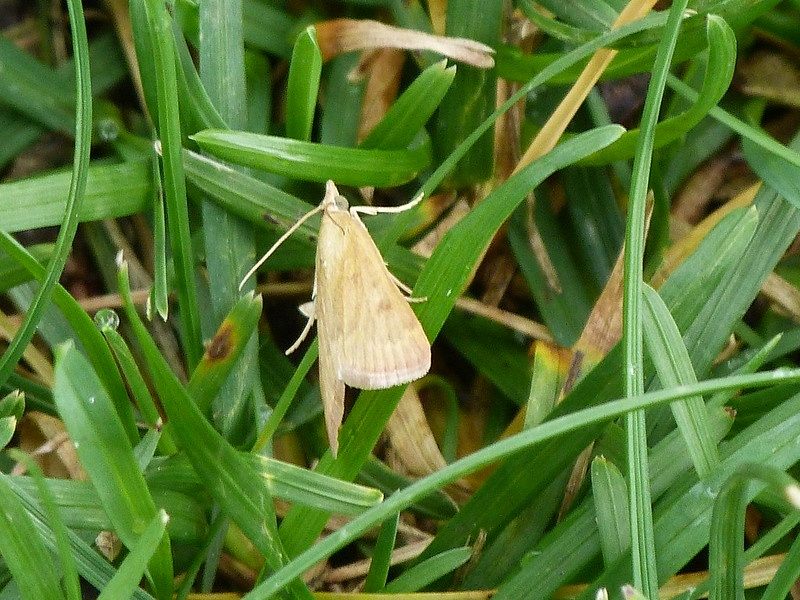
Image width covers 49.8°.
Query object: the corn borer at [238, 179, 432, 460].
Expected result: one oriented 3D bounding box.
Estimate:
[{"bbox_3d":[-0.075,0.016,1.365,0.099,0.352,0.427,10,57,-49],"label":"corn borer"}]
